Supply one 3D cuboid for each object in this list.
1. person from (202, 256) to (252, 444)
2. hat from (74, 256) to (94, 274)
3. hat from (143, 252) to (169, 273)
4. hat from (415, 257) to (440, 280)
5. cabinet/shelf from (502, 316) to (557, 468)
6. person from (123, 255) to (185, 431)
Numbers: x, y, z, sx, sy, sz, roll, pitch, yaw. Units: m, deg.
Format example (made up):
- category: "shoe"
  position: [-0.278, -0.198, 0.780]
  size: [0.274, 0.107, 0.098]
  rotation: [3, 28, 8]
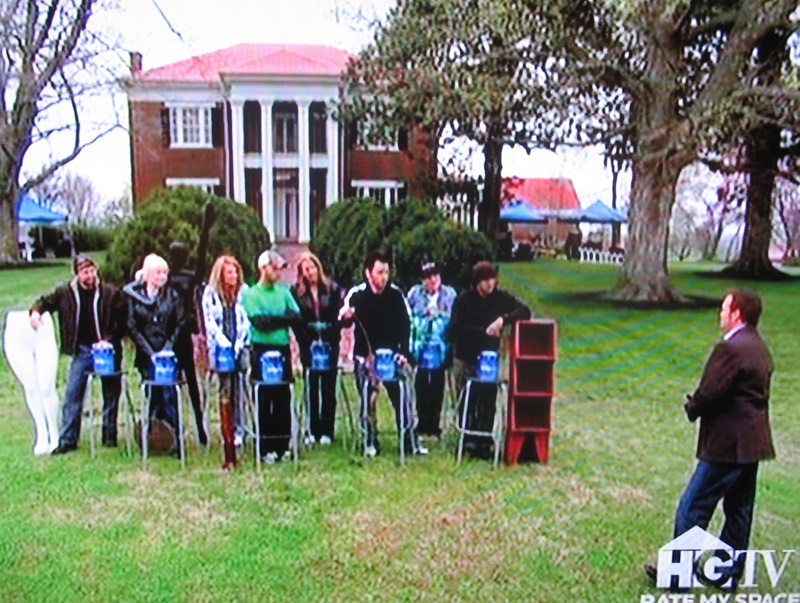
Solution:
- category: "person"
  position: [-1.731, 0.523, 10.974]
  size: [0.301, 1.982, 0.528]
  rotation: [0, 2, 33]
- category: "hat"
  position: [-3.223, -0.380, 10.969]
  size: [0.133, 0.193, 0.167]
  rotation: [6, -3, -38]
- category: "hat"
  position: [-2.485, -0.406, 10.960]
  size: [0.258, 0.183, 0.207]
  rotation: [-2, 1, -17]
- category: "hat"
  position: [0.293, -0.336, 11.017]
  size: [0.207, 0.190, 0.150]
  rotation: [-2, 1, 6]
- category: "cabinet/shelf"
  position: [1.301, 0.923, 10.886]
  size: [0.558, 1.480, 0.281]
  rotation: [-1, 2, 5]
- category: "person"
  position: [-2.507, 0.417, 11.062]
  size: [0.529, 1.827, 0.396]
  rotation: [-1, 2, 19]
